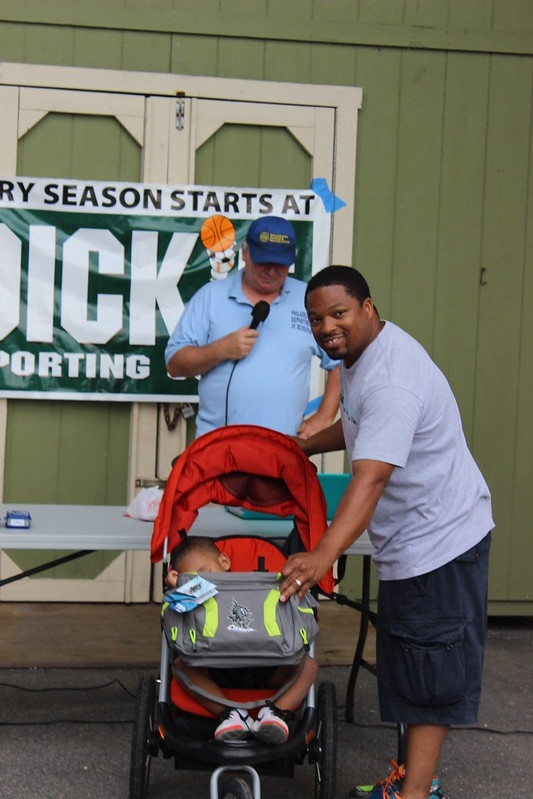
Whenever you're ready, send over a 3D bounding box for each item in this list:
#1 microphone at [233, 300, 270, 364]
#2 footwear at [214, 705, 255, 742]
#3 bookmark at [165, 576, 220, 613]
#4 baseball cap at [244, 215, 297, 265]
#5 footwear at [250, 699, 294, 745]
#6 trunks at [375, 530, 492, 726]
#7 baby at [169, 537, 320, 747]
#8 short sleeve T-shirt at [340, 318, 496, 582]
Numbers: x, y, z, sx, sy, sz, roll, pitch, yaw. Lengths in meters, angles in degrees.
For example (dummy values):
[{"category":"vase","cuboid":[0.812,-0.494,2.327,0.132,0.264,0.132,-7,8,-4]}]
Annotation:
[{"category":"microphone","cuboid":[-0.041,-0.220,3.553,0.082,0.212,0.156,8,10,34]},{"category":"footwear","cuboid":[-0.077,0.824,2.742,0.047,0.061,0.133,-28,-15,20]},{"category":"bookmark","cuboid":[-0.194,0.483,2.680,0.085,0.038,0.101,9,32,45]},{"category":"baseball cap","cuboid":[0.022,-0.533,3.560,0.169,0.130,0.256,6,24,-7]},{"category":"footwear","cuboid":[0.009,0.825,2.709,0.085,0.085,0.121,3,8,-1]},{"category":"trunks","cuboid":[0.431,0.586,2.798,0.236,0.529,0.184,3,14,21]},{"category":"baby","cuboid":[-0.064,0.638,2.812,0.349,0.466,0.499,-4,11,-5]},{"category":"short sleeve T-shirt","cuboid":[0.387,0.157,2.710,0.400,0.672,0.315,3,8,4]}]
